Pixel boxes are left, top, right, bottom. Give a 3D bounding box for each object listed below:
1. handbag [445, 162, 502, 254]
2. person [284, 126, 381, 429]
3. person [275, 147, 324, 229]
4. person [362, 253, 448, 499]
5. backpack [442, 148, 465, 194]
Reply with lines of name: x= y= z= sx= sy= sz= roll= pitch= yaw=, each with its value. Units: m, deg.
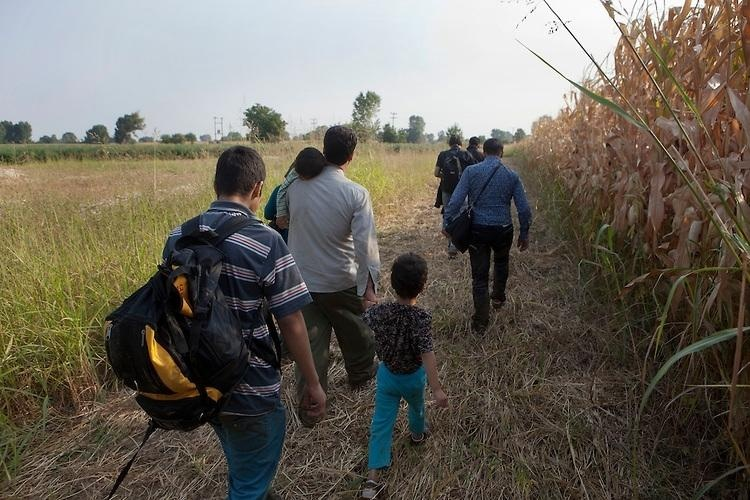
handbag: x=1.150 y=-0.479 z=5.774 sx=0.212 sy=1.043 sz=0.488 roll=21 pitch=8 yaw=9
person: x=-0.373 y=0.197 z=5.181 sx=0.986 sy=2.923 sz=1.054 roll=-3 pitch=15 yaw=-19
person: x=-0.804 y=-0.555 z=4.904 sx=0.234 sy=0.765 sz=0.225 roll=10 pitch=45 yaw=-10
person: x=0.221 y=1.052 z=4.269 sx=0.722 sy=1.985 sz=0.516 roll=-3 pitch=12 yaw=-7
backpack: x=1.304 y=-1.374 z=9.043 sx=0.588 sy=0.672 sz=0.430 roll=-14 pitch=3 yaw=12
